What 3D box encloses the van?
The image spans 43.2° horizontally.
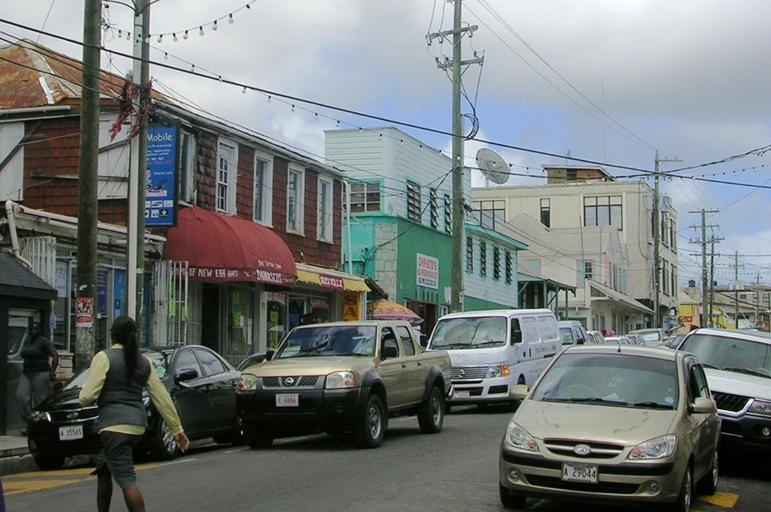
[{"bbox_3d":[2.948,2.641,25.600,1.980,1.755,3.702,-5,-9,23],"label":"van"}]

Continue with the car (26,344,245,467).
[{"bbox_3d":[-4.397,2.835,18.996,2.024,1.491,3.787,-5,-9,21],"label":"car"}]

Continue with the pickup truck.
[{"bbox_3d":[-0.602,2.499,19.303,2.035,1.568,3.781,-6,-11,25],"label":"pickup truck"}]

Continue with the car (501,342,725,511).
[{"bbox_3d":[3.059,2.483,14.047,2.905,2.260,1.704,-1,-5,-2],"label":"car"}]
